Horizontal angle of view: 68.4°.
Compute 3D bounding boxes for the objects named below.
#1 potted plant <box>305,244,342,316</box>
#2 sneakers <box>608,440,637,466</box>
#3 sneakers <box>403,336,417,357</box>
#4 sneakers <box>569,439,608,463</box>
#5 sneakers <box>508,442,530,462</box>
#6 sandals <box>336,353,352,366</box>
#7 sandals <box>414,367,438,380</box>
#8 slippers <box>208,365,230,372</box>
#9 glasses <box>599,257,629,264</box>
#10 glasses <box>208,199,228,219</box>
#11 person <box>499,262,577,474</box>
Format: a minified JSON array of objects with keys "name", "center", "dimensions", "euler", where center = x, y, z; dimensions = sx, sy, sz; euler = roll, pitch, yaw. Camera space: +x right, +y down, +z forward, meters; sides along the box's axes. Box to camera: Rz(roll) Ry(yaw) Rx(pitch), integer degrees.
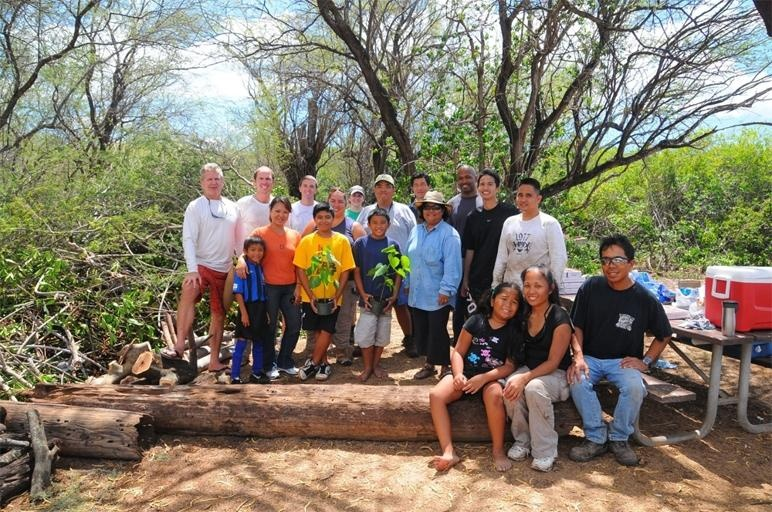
[{"name":"potted plant","center":[-0.868,0.391,8.150],"dimensions":[0.615,0.844,0.588],"euler":[-2,-2,-9]},{"name":"sneakers","center":[2.762,2.282,6.592],"dimensions":[0.155,0.171,0.416],"euler":[-18,-12,-5]},{"name":"sneakers","center":[0.371,1.454,9.098],"dimensions":[0.180,0.300,0.135],"euler":[-10,3,10]},{"name":"sneakers","center":[2.328,2.265,6.676],"dimensions":[0.507,0.209,0.177],"euler":[-3,22,-12]},{"name":"sneakers","center":[1.550,2.298,6.668],"dimensions":[0.253,0.163,0.180],"euler":[0,4,15]},{"name":"sandals","center":[-0.644,1.615,8.791],"dimensions":[0.157,0.075,0.197],"euler":[4,7,-1]},{"name":"sandals","center":[0.565,1.691,8.183],"dimensions":[0.319,0.134,0.141],"euler":[-1,0,-22]},{"name":"slippers","center":[-2.450,1.664,8.366],"dimensions":[0.301,0.069,0.112],"euler":[-2,2,-1]},{"name":"glasses","center":[2.731,0.058,6.790],"dimensions":[0.326,0.102,0.115],"euler":[0,4,21]},{"name":"glasses","center":[-2.462,-0.667,8.282],"dimensions":[0.225,0.267,0.144],"euler":[-4,5,-34]},{"name":"person","center":[1.785,1.293,6.727],"dimensions":[0.607,2.277,0.727],"euler":[2,6,32]}]
